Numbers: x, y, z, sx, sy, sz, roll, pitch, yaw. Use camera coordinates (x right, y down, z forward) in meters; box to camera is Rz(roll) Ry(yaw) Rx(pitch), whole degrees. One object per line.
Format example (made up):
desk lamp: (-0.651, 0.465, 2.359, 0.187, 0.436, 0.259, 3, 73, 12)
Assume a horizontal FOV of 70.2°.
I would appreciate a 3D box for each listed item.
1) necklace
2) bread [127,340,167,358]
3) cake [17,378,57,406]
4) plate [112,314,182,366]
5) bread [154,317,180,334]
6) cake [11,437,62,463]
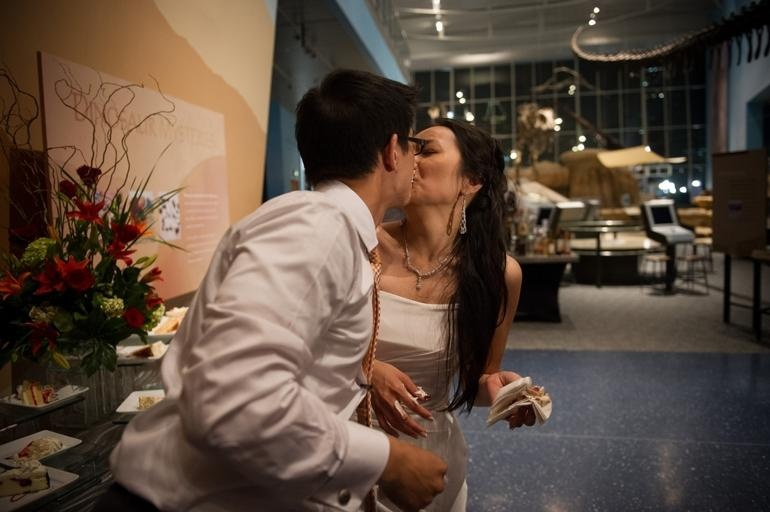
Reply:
necklace: (0.165, -0.003, 2.332, 0.163, 0.275, 0.074, 15, -10, -12)
bread: (-0.891, 0.362, 2.071, 0.135, 0.089, 0.063, 2, -20, -1)
cake: (-1.190, 0.473, 1.866, 0.089, 0.037, 0.096, 26, 14, 22)
plate: (-0.923, 0.335, 2.118, 0.295, 0.116, 0.231, 4, 7, 34)
bread: (-0.842, 0.270, 2.107, 0.051, 0.034, 0.108, 25, 34, 32)
cake: (-1.083, 0.608, 1.711, 0.055, 0.028, 0.098, 5, 9, 13)
